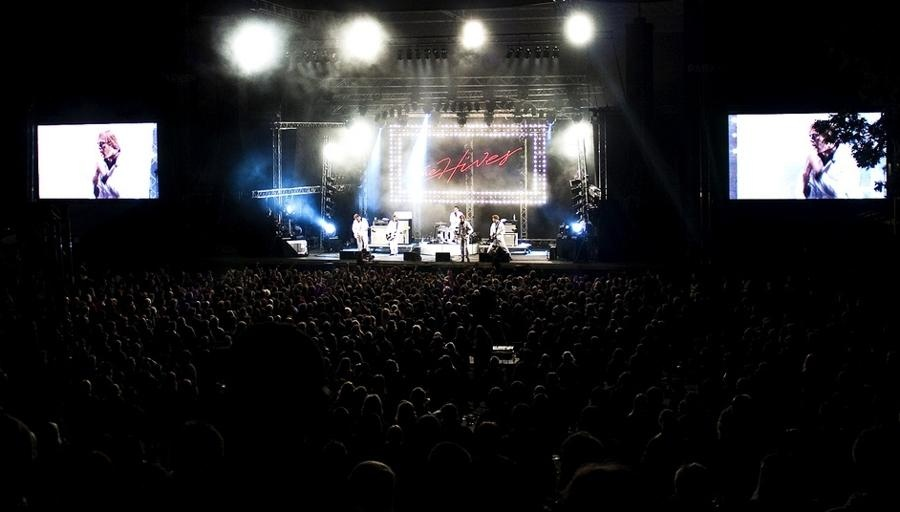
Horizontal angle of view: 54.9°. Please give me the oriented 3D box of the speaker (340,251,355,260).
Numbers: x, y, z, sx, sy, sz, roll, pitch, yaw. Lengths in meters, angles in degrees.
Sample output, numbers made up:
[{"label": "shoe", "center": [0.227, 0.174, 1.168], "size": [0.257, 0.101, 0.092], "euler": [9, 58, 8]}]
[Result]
[{"label": "speaker", "center": [-3.667, -0.025, 31.195], "size": [0.558, 0.322, 0.285], "euler": [1, 4, -3]}]

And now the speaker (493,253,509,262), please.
[{"label": "speaker", "center": [1.837, 0.075, 30.348], "size": [0.372, 0.231, 0.383], "euler": [-1, -2, 31]}]

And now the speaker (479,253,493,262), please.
[{"label": "speaker", "center": [1.250, 0.072, 30.523], "size": [0.350, 0.231, 0.337], "euler": [3, -6, -34]}]

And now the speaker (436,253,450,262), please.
[{"label": "speaker", "center": [-0.248, 0.051, 30.203], "size": [0.363, 0.207, 0.354], "euler": [0, 0, 3]}]
